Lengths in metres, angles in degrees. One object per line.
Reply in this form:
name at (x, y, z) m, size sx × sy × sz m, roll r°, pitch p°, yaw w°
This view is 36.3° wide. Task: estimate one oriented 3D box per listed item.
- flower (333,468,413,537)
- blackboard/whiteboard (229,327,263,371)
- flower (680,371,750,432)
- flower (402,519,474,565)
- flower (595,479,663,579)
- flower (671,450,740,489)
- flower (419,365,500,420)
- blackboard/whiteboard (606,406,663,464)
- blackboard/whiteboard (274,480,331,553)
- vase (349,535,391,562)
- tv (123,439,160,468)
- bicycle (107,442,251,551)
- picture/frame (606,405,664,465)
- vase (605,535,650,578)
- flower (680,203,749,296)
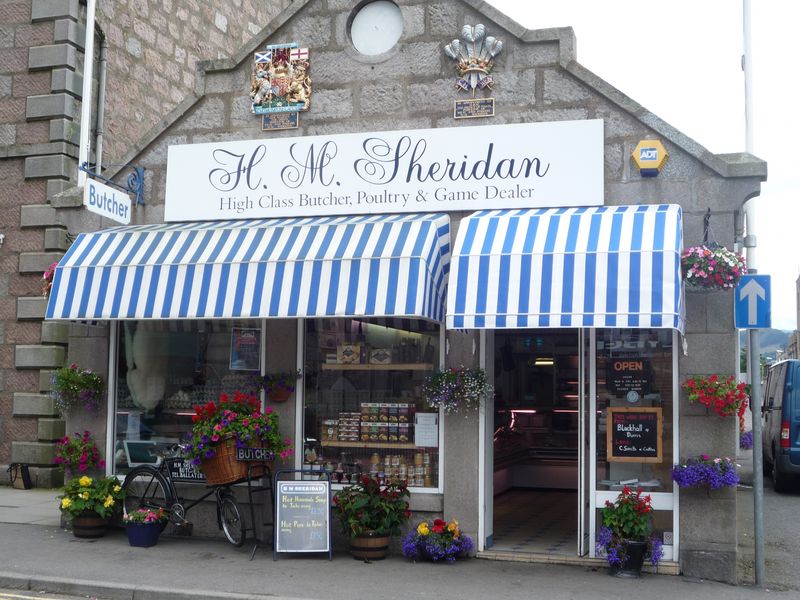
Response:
flower at (-0.376, 3.086, 18.250) m, size 1.072 × 0.858 × 0.420 m, roll 1°, pitch -8°, yaw -4°
blackboard/whiteboard at (-2.382, 0.772, 19.280) m, size 0.587 × 0.796 × 0.053 m, roll -2°, pitch -10°, yaw 15°
flower at (4.551, 1.367, 17.562) m, size 0.922 × 0.626 × 0.454 m, roll -1°, pitch -8°, yaw 7°
flower at (0.593, 3.557, 18.135) m, size 1.047 × 0.617 × 0.360 m, roll 0°, pitch -8°, yaw 1°
flower at (3.328, 3.236, 17.510) m, size 0.791 × 1.274 × 0.784 m, roll 2°, pitch -2°, yaw 9°
flower at (4.388, 2.455, 17.509) m, size 0.894 × 0.485 × 0.314 m, roll -1°, pitch -8°, yaw 11°
flower at (0.890, 1.345, 18.489) m, size 1.035 × 0.680 × 0.469 m, roll 0°, pitch -8°, yaw 2°
blackboard/whiteboard at (3.471, 1.965, 17.905) m, size 0.623 × 0.906 × 0.524 m, roll 0°, pitch -1°, yaw 15°
blackboard/whiteboard at (-1.414, 3.186, 18.528) m, size 1.086 × 1.642 × 0.883 m, roll 0°, pitch -12°, yaw 0°
vase at (-0.418, 3.653, 17.969) m, size 0.377 × 0.293 × 0.401 m, roll 0°, pitch -10°, yaw 3°
tv at (-4.129, 2.475, 19.694) m, size 0.412 × 0.396 × 0.044 m, roll 0°, pitch -7°, yaw 3°
bicycle at (-3.344, 3.073, 19.179) m, size 2.212 × 1.582 × 1.159 m, roll -1°, pitch -5°, yaw 21°
picture/frame at (3.498, 1.985, 17.898) m, size 0.784 × 0.840 × 0.065 m, roll -1°, pitch -2°, yaw 17°
vase at (3.281, 3.643, 17.402) m, size 0.484 × 0.406 × 0.516 m, roll 1°, pitch -12°, yaw 2°
flower at (4.497, -0.768, 17.521) m, size 0.901 × 1.197 × 0.563 m, roll -1°, pitch -8°, yaw 9°
